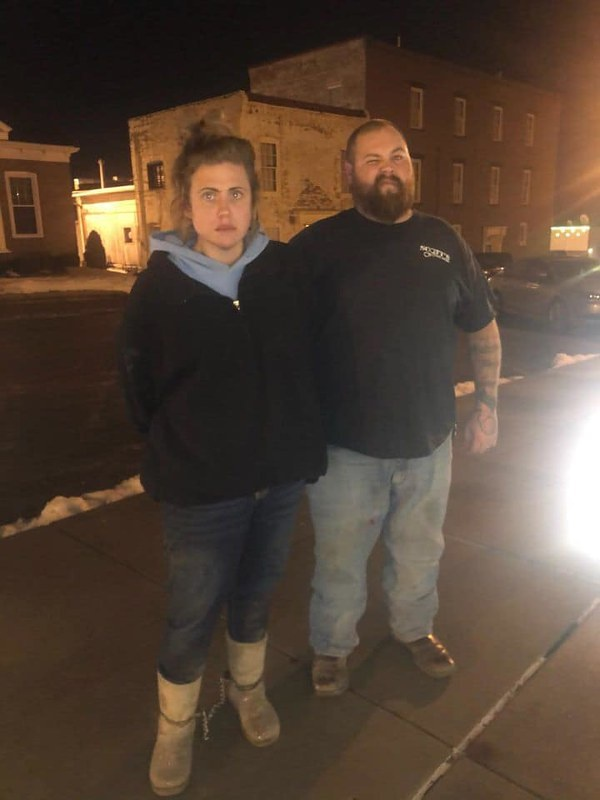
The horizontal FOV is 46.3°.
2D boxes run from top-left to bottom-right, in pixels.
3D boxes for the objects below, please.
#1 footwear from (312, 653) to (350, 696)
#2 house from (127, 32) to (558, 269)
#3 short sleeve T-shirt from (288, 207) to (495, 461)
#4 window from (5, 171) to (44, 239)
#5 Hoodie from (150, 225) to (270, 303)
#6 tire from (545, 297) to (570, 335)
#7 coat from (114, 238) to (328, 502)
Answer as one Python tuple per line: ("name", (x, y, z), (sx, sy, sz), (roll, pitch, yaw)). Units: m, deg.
("footwear", (0.116, 1.037, 2.670), (0.124, 0.046, 0.116), (2, 51, 1))
("house", (3.018, -9.212, 30.627), (13.936, 8.453, 7.487), (-3, 13, -23))
("short sleeve T-shirt", (0.323, -0.267, 2.628), (0.915, 0.880, 0.451), (-2, 11, -9))
("window", (-10.806, -7.602, 27.639), (0.540, 2.467, 1.424), (5, 15, 23))
("Hoodie", (-0.273, -0.380, 2.116), (0.301, 0.138, 0.215), (11, -24, -26))
("tire", (5.106, -1.732, 13.854), (0.427, 0.507, 0.563), (4, 15, 19))
("coat", (-0.215, -0.092, 2.119), (0.626, 0.759, 0.348), (-4, 15, -14))
